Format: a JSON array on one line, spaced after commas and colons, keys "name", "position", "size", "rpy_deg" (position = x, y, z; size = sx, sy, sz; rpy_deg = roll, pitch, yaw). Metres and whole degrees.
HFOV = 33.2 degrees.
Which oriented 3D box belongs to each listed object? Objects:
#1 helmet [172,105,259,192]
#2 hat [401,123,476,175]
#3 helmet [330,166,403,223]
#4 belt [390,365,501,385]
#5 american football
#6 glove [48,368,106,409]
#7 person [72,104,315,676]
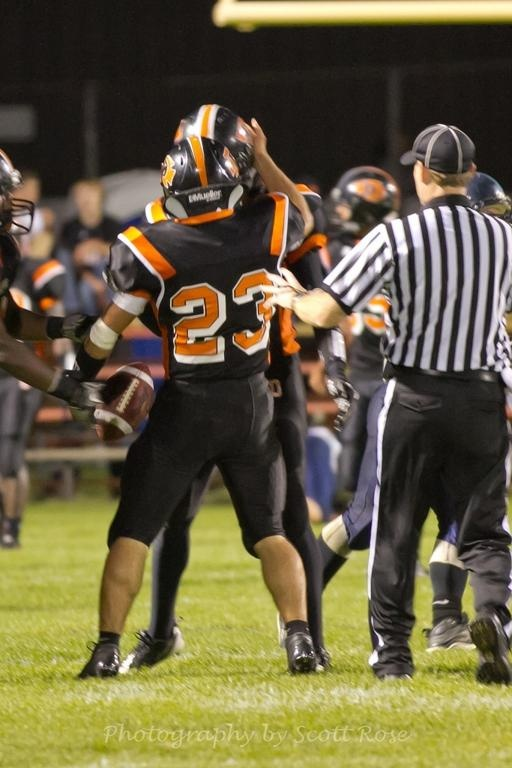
[{"name": "helmet", "position": [-0.089, -0.631, 2.178], "size": [0.160, 0.257, 0.156], "rpy_deg": [-5, 21, 23]}, {"name": "hat", "position": [0.460, -0.589, 2.141], "size": [0.160, 0.095, 0.190], "rpy_deg": [-9, 29, -16]}, {"name": "helmet", "position": [0.626, -1.017, 4.736], "size": [0.413, 0.320, 0.310], "rpy_deg": [10, 25, 22]}, {"name": "belt", "position": [0.432, -0.036, 2.056], "size": [0.197, 0.048, 0.127], "rpy_deg": [4, 9, 16]}, {"name": "american football", "position": [-0.347, 0.053, 2.372], "size": [0.137, 0.215, 0.170], "rpy_deg": [34, -26, -10]}, {"name": "glove", "position": [-0.468, 0.019, 2.314], "size": [0.132, 0.102, 0.133], "rpy_deg": [-7, 9, -30]}, {"name": "person", "position": [-0.079, 0.060, 2.301], "size": [0.658, 1.327, 0.723], "rpy_deg": [0, 1, 8]}]
